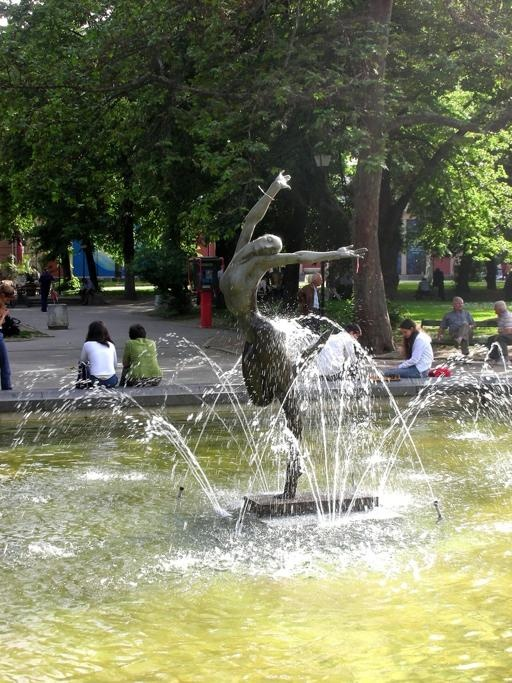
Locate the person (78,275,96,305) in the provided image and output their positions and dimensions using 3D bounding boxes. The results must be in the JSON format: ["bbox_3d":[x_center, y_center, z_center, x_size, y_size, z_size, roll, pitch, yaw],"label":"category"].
[{"bbox_3d":[-7.826,-2.410,39.331,0.637,1.297,2.070,-4,4,-11],"label":"person"}]

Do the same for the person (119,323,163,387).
[{"bbox_3d":[-1.649,0.199,11.718,0.535,0.909,0.877,-3,3,2],"label":"person"}]

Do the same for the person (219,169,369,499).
[{"bbox_3d":[0.165,0.010,6.043,0.834,2.376,0.446,-1,4,36],"label":"person"}]

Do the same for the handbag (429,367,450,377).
[{"bbox_3d":[2.794,0.459,12.888,0.188,0.111,0.217,-4,5,-39],"label":"handbag"}]

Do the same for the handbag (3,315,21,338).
[{"bbox_3d":[-6.051,-0.367,20.995,0.368,0.289,0.543,11,-22,-4],"label":"handbag"}]

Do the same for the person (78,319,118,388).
[{"bbox_3d":[-2.057,0.180,11.166,0.479,0.933,0.512,-5,4,-24],"label":"person"}]

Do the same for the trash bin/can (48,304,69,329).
[{"bbox_3d":[-5.763,-0.745,24.262,0.687,0.732,0.730,0,-2,3],"label":"trash bin/can"}]
